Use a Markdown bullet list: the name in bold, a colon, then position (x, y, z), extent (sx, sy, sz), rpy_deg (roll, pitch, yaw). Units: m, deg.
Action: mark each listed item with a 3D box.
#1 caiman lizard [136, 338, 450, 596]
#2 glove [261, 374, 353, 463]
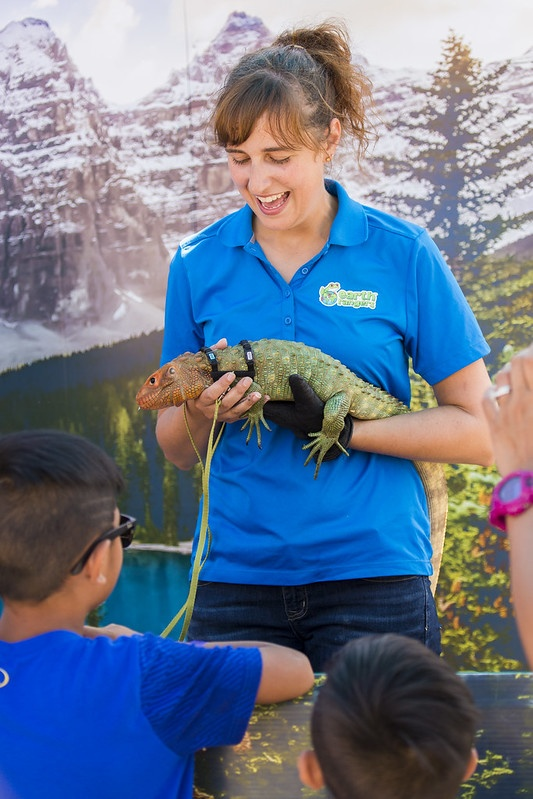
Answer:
- **caiman lizard**: position (0.055, 0.144, 2.040), extent (0.757, 0.673, 0.223), rpy_deg (-1, -40, -8)
- **glove**: position (0.085, 0.036, 1.875), extent (0.232, 0.108, 0.175), rpy_deg (34, 42, 7)
